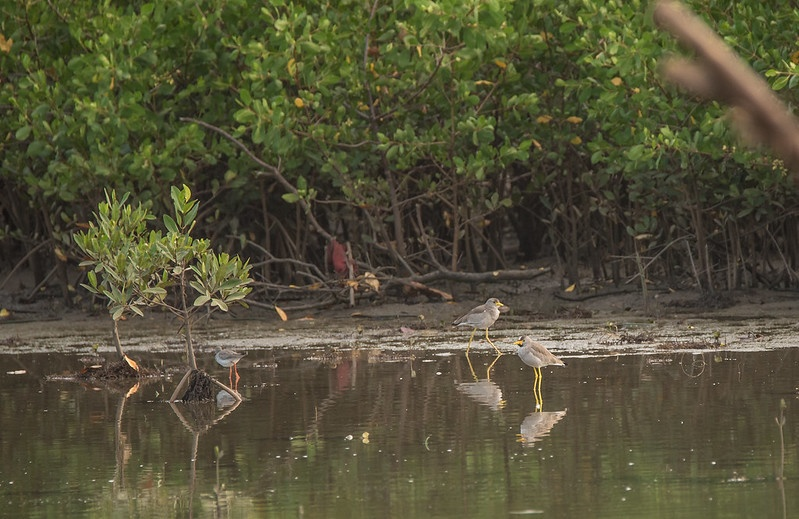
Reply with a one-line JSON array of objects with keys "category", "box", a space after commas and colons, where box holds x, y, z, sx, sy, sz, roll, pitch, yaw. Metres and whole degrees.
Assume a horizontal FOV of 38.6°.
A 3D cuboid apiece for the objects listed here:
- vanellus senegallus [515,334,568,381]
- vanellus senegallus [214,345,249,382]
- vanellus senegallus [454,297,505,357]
[{"category": "vanellus senegallus", "box": [1.803, 1.268, 14.750, 0.755, 0.582, 0.359, 0, 5, -25]}, {"category": "vanellus senegallus", "box": [-2.326, 1.439, 15.425, 0.297, 0.418, 1.231, -8, -4, -10]}, {"category": "vanellus senegallus", "box": [1.134, 0.994, 17.098, 0.902, 0.840, 0.333, 1, -5, 28]}]
